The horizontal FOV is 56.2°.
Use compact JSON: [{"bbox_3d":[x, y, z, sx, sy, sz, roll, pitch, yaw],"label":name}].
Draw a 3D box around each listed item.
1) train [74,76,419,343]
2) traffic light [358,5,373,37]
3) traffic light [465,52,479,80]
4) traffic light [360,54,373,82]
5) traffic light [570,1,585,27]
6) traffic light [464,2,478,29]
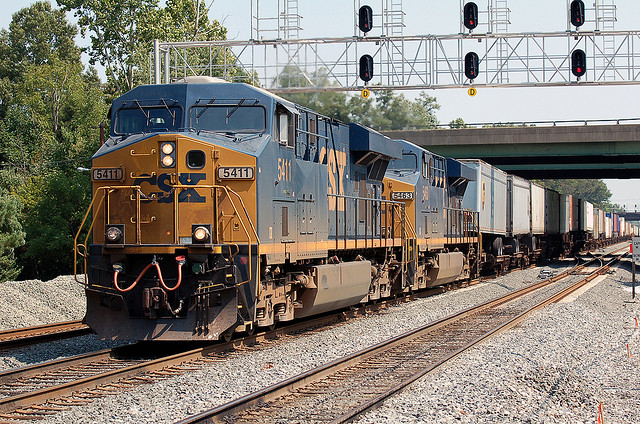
[{"bbox_3d":[-0.963,-0.014,18.898,4.724,6.296,15.306,0,-1,18],"label":"train"},{"bbox_3d":[1.879,-8.215,25.733,0.504,1.103,0.736,1,1,-2],"label":"traffic light"},{"bbox_3d":[6.471,-6.280,25.818,0.486,1.125,0.722,0,1,-26],"label":"traffic light"},{"bbox_3d":[1.905,-6.213,25.962,0.560,1.108,0.383,1,1,30],"label":"traffic light"},{"bbox_3d":[10.716,-8.370,25.296,0.520,1.027,0.444,1,1,19],"label":"traffic light"},{"bbox_3d":[6.202,-8.160,25.022,0.519,0.991,0.439,1,1,-6],"label":"traffic light"}]
